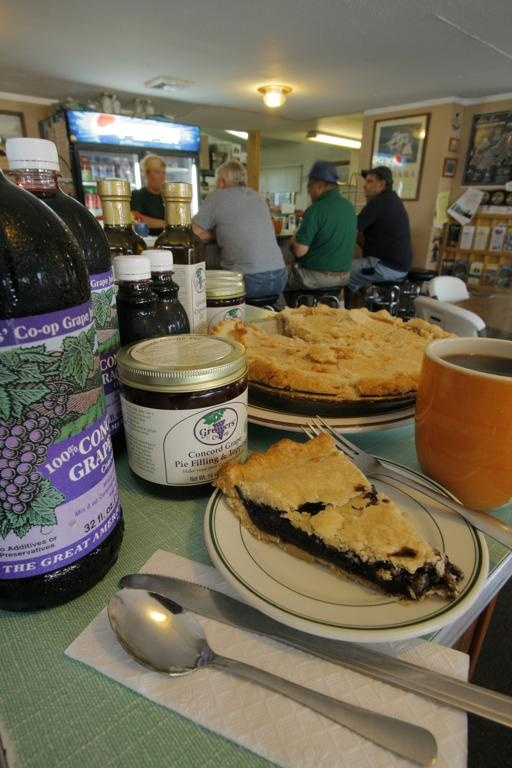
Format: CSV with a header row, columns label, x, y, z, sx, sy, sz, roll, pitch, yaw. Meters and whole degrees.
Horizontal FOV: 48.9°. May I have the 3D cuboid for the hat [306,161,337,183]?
label,x,y,z,sx,sy,sz,roll,pitch,yaw
hat,0.392,-1.212,3.265,0.172,0.088,0.121,28,49,16

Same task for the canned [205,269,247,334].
label,x,y,z,sx,sy,sz,roll,pitch,yaw
canned,-0.046,-0.137,0.903,0.098,0.100,0.095,-2,14,-4

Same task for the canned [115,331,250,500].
label,x,y,z,sx,sy,sz,roll,pitch,yaw
canned,-0.042,0.024,0.545,0.131,0.135,0.129,-2,24,1

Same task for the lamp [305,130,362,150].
label,x,y,z,sx,sy,sz,roll,pitch,yaw
lamp,1.014,-3.104,7.155,0.419,0.143,1.225,12,24,30

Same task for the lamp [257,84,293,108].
label,x,y,z,sx,sy,sz,roll,pitch,yaw
lamp,0.142,-2.172,4.226,0.251,0.117,0.244,-1,29,0

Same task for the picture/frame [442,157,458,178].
label,x,y,z,sx,sy,sz,roll,pitch,yaw
picture/frame,1.534,-1.730,4.465,0.140,0.134,0.015,-22,32,-36

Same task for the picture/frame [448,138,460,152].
label,x,y,z,sx,sy,sz,roll,pitch,yaw
picture/frame,1.546,-1.877,4.397,0.096,0.080,0.013,-24,33,-34
